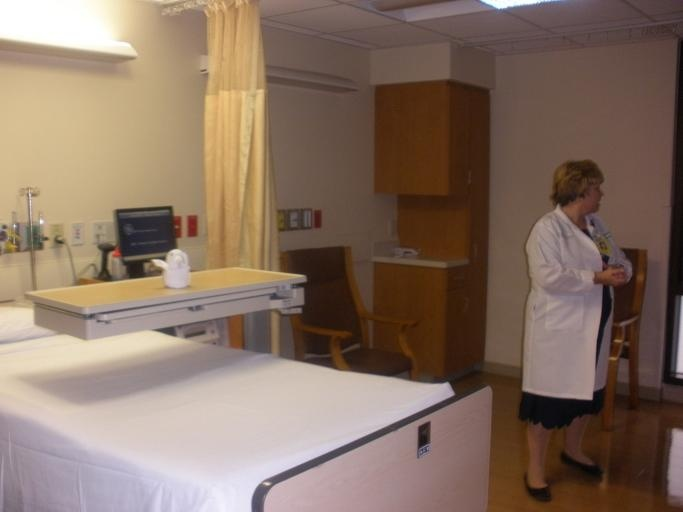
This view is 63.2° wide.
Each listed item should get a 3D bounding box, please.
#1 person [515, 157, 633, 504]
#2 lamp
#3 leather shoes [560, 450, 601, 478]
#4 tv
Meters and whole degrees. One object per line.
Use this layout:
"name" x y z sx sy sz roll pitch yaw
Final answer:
"person" 1.374 0.449 3.330 0.636 2.013 0.515 -6 11 -35
"lamp" -0.285 -1.389 4.342 0.298 0.123 1.058 9 12 38
"leather shoes" 1.588 1.392 3.691 0.092 0.074 0.259 -23 21 -32
"tv" -1.226 -0.082 3.421 0.188 0.519 0.419 2 4 43
